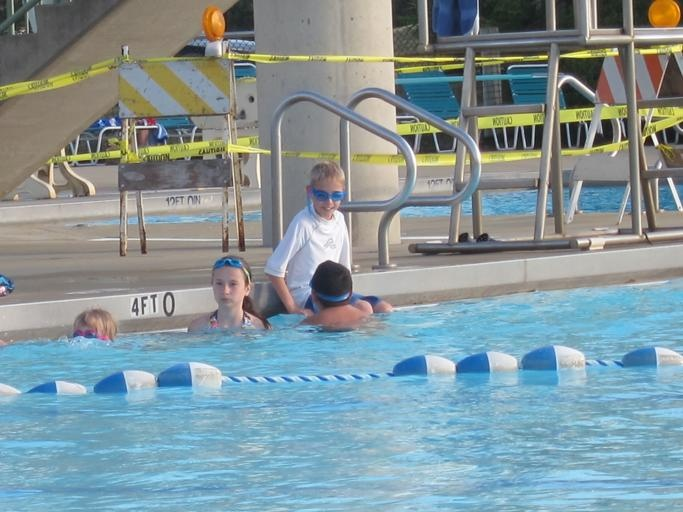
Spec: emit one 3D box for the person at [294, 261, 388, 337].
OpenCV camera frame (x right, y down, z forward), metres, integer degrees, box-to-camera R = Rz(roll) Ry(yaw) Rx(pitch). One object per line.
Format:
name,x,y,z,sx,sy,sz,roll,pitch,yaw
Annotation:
person,-0.130,0.275,9.160,0.778,0.459,0.372,-6,23,-13

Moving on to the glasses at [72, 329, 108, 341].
glasses,-1.565,0.491,8.676,0.128,0.045,0.089,9,-11,1

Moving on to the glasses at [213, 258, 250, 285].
glasses,-0.700,0.089,8.896,0.213,0.180,0.201,-3,6,2
